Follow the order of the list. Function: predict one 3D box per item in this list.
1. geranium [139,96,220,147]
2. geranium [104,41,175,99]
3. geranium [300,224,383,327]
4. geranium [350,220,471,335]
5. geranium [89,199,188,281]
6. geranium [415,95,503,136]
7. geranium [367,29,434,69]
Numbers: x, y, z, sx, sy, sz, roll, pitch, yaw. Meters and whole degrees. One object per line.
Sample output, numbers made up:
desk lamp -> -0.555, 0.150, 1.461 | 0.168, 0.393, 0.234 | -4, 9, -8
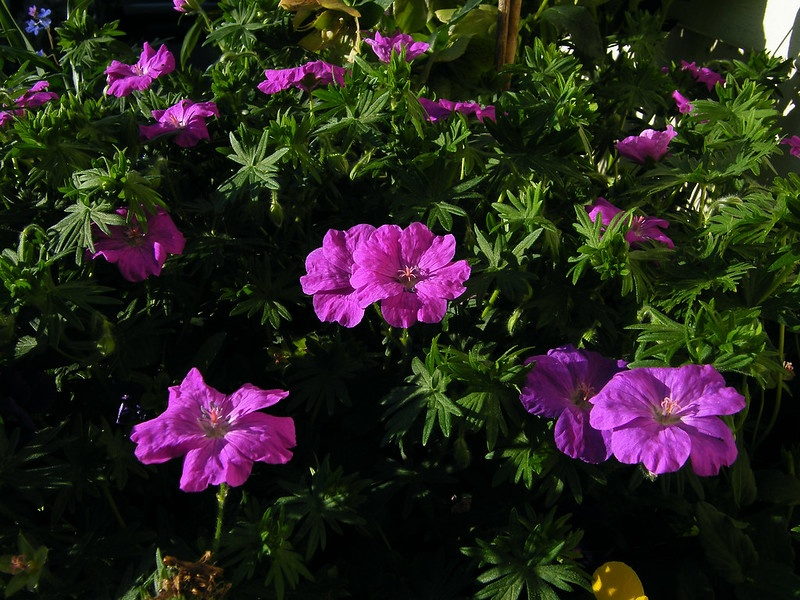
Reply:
geranium -> -0.469, -0.374, 1.557 | 0.162, 0.095, 0.138 | -10, 13, -20
geranium -> -0.599, -0.526, 1.675 | 0.152, 0.117, 0.181 | -10, 14, -22
geranium -> -0.117, -0.035, 1.408 | 0.157, 0.185, 0.063 | 5, -13, 19
geranium -> 0.018, -0.053, 1.442 | 0.261, 0.141, 0.292 | 21, 8, 36
geranium -> -0.495, -0.135, 1.426 | 0.125, 0.064, 0.133 | 24, 14, -36
geranium -> 0.120, -0.398, 1.539 | 0.157, 0.063, 0.271 | -5, 13, 5
geranium -> -0.013, -0.562, 1.618 | 0.114, 0.066, 0.130 | -6, 34, -30
